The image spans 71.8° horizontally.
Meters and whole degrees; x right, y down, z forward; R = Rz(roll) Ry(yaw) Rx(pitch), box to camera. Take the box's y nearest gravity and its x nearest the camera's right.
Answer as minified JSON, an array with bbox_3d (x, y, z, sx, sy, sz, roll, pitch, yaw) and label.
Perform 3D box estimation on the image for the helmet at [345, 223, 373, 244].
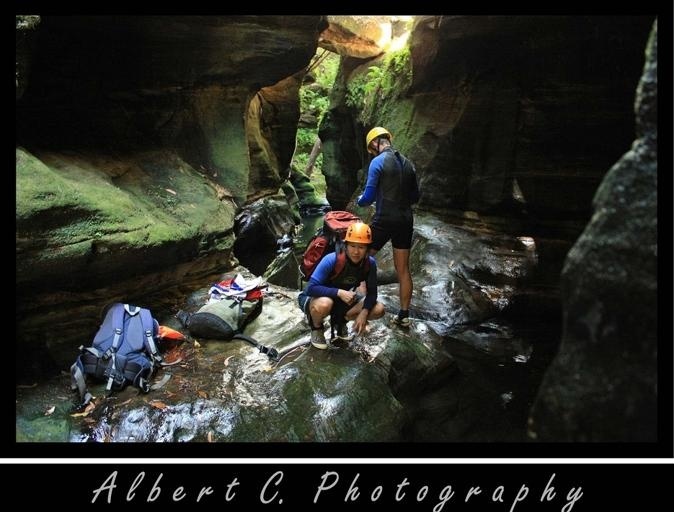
[{"bbox_3d":[0.211,-0.229,4.642,0.267,0.204,0.171,3,21,-5],"label":"helmet"}]

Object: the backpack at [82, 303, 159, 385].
[{"bbox_3d":[-2.216,0.852,4.702,0.805,0.332,0.930,8,35,-21],"label":"backpack"}]

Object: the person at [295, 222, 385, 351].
[{"bbox_3d":[0.073,0.297,4.935,0.876,1.411,0.447,3,22,-5],"label":"person"}]

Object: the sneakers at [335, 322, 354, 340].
[{"bbox_3d":[0.080,0.847,5.159,0.148,0.210,0.231,2,-10,-14],"label":"sneakers"}]

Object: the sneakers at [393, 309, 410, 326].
[{"bbox_3d":[0.760,0.723,5.419,0.111,0.171,0.263,-2,14,-8],"label":"sneakers"}]

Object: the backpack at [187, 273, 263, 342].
[{"bbox_3d":[-1.344,0.579,5.769,0.714,0.392,0.987,8,25,11],"label":"backpack"}]
